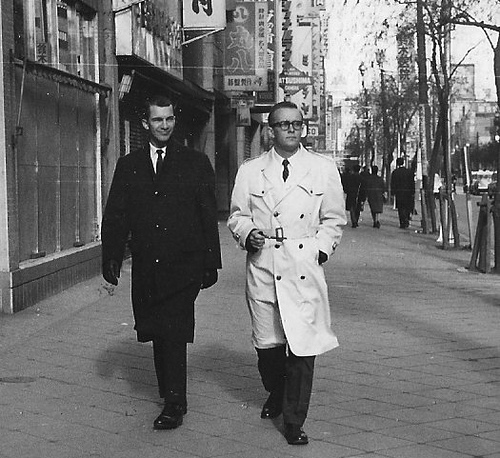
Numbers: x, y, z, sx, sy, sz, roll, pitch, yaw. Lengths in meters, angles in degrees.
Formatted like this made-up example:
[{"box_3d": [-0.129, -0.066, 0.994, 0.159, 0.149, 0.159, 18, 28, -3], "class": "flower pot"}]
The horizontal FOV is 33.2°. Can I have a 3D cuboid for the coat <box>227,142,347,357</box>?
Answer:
[{"box_3d": [0.225, 0.147, 5.406, 0.759, 1.375, 0.623, 2, 9, 7], "class": "coat"}]

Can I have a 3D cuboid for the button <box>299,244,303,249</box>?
[{"box_3d": [0.320, 0.103, 5.302, 0.025, 0.028, 0.007, 0, -1, 1], "class": "button"}]

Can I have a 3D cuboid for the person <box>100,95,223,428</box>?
[{"box_3d": [-0.569, 0.175, 5.628, 0.694, 2.105, 0.646, 7, 11, 37], "class": "person"}]

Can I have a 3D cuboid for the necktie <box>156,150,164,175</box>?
[{"box_3d": [-0.606, -0.448, 5.587, 0.027, 0.176, 0.023, 0, -17, 4], "class": "necktie"}]

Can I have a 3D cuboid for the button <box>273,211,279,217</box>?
[{"box_3d": [0.168, -0.103, 5.341, 0.031, 0.035, 0.005, 3, 9, 14], "class": "button"}]

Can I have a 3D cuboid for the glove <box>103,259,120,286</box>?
[{"box_3d": [-0.922, 0.276, 5.596, 0.091, 0.185, 0.116, 0, -11, -24], "class": "glove"}]

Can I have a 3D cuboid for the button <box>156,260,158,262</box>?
[{"box_3d": [-0.607, 0.202, 5.485, 0.011, 0.014, 0.001, 5, 10, 23], "class": "button"}]

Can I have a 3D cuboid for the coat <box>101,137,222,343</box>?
[{"box_3d": [-0.593, 0.061, 5.574, 0.761, 1.297, 0.498, -1, 9, -10], "class": "coat"}]

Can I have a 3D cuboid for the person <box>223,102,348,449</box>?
[{"box_3d": [0.196, 0.248, 5.353, 0.726, 2.074, 0.758, 4, 10, 20], "class": "person"}]

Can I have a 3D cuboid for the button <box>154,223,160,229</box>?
[{"box_3d": [-0.606, -0.027, 5.481, 0.038, 0.035, 0.008, 3, 9, 12], "class": "button"}]

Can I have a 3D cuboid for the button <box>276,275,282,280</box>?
[{"box_3d": [0.180, 0.299, 5.279, 0.027, 0.030, 0.007, -3, 2, 0], "class": "button"}]

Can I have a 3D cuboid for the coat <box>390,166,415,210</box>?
[{"box_3d": [4.309, -1.143, 23.695, 0.652, 1.239, 0.949, 2, 10, 10], "class": "coat"}]

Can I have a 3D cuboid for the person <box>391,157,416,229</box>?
[{"box_3d": [4.317, -0.890, 23.758, 0.623, 1.751, 0.981, 8, 12, 39], "class": "person"}]

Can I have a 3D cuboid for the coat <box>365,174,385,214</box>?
[{"box_3d": [3.656, -1.021, 24.726, 0.532, 1.073, 1.939, 2, 11, 7], "class": "coat"}]

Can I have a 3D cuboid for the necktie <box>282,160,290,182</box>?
[{"box_3d": [0.229, -0.383, 5.406, 0.041, 0.128, 0.018, -2, -21, 13], "class": "necktie"}]

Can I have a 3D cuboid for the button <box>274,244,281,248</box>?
[{"box_3d": [0.173, 0.101, 5.306, 0.031, 0.022, 0.005, 2, 9, 6], "class": "button"}]

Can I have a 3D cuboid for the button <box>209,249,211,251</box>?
[{"box_3d": [-0.265, 0.133, 5.545, 0.009, 0.017, 0.009, -2, 7, -10], "class": "button"}]

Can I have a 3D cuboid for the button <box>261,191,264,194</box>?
[{"box_3d": [0.082, -0.243, 5.416, 0.016, 0.018, 0.004, -7, -4, 1], "class": "button"}]

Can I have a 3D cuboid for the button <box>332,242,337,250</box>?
[{"box_3d": [0.538, 0.103, 5.384, 0.021, 0.042, 0.009, 13, -8, -16], "class": "button"}]
